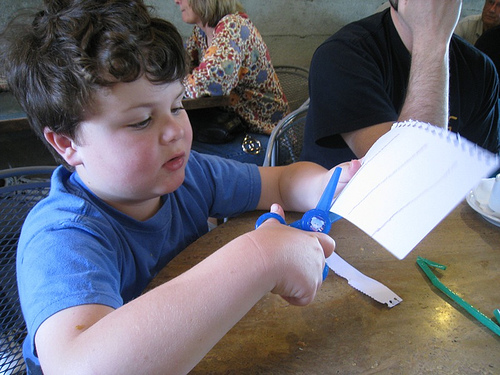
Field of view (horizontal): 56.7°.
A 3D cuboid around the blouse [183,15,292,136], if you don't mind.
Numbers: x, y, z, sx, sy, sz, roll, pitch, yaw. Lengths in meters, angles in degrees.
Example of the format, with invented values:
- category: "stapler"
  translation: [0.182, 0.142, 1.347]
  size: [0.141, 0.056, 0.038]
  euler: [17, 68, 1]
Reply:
- category: "blouse"
  translation: [-0.151, -0.647, 2.471]
  size: [0.724, 0.605, 0.637]
  euler: [4, 21, 0]
